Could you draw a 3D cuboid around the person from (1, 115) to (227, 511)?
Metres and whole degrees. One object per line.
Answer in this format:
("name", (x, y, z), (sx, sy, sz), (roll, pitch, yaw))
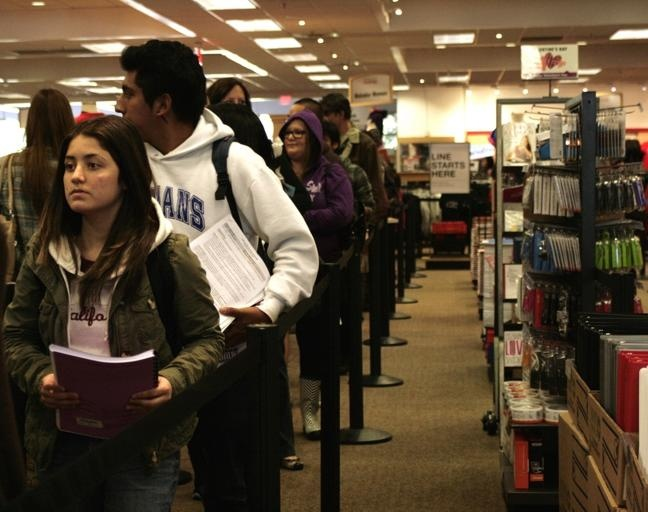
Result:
("person", (-0.563, 0.154, 1.527), (0.531, 1.052, 0.438), (0, 5, 7))

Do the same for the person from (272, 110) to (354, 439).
("person", (-0.057, 0.068, 4.249), (0.637, 2.129, 0.657), (-2, 23, 9))
